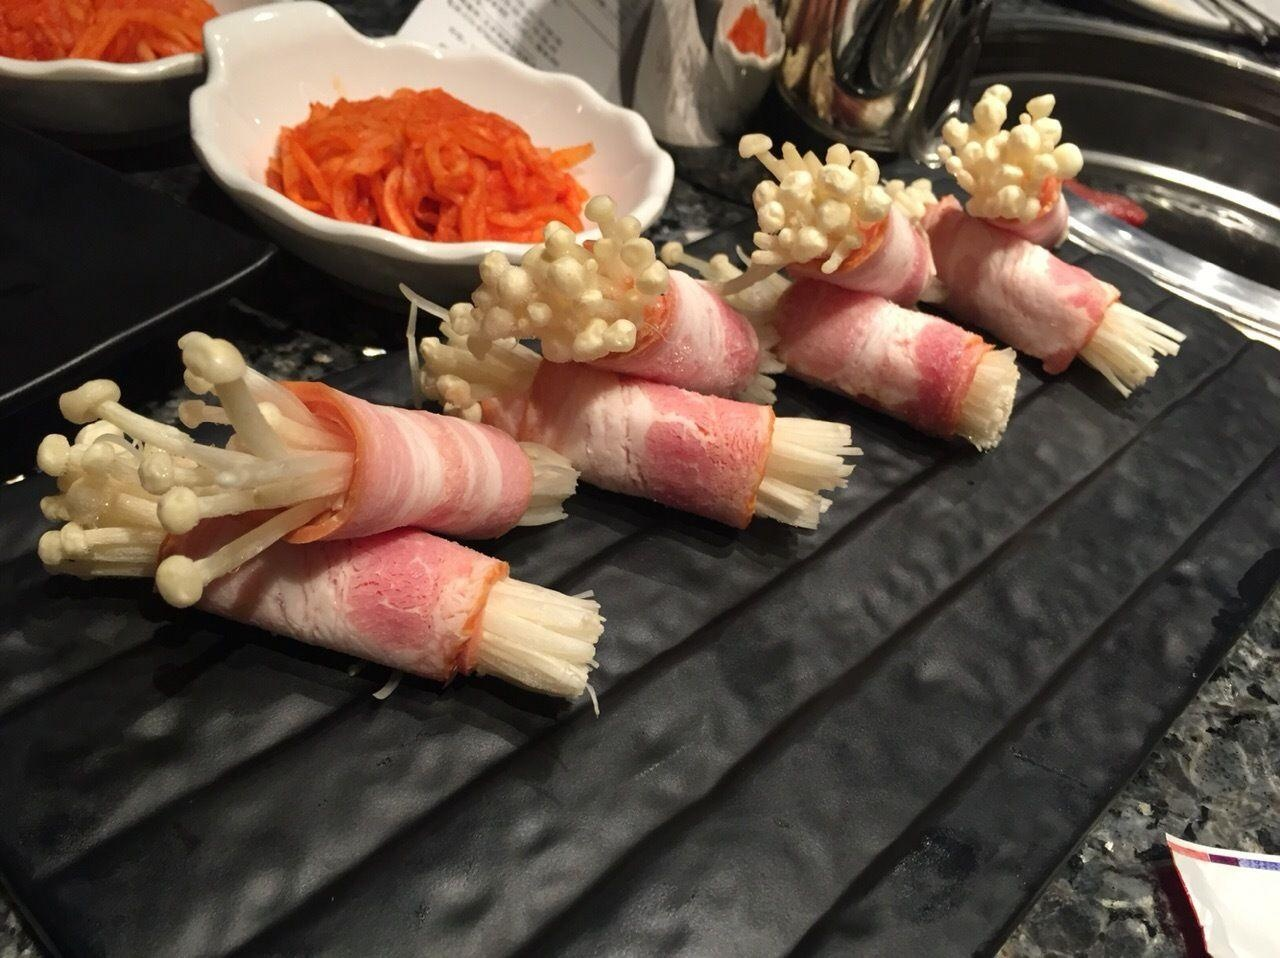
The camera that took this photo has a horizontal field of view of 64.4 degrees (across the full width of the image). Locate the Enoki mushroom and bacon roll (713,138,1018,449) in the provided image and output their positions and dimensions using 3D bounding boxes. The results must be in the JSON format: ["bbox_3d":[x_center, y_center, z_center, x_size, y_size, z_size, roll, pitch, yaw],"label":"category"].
[{"bbox_3d":[0.245,-0.200,1.191,0.387,0.163,0.290,31,47,-18],"label":"Enoki mushroom and bacon roll"}]

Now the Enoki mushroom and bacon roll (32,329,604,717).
[{"bbox_3d":[-0.267,0.081,0.989,0.463,0.255,0.324,14,40,-6],"label":"Enoki mushroom and bacon roll"}]

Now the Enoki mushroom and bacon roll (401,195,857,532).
[{"bbox_3d":[0.008,-0.132,1.088,0.452,0.251,0.292,21,37,8],"label":"Enoki mushroom and bacon roll"}]

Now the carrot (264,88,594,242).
[{"bbox_3d":[-0.249,-0.375,1.306,0.346,0.126,0.219,11,39,-5],"label":"carrot"}]
